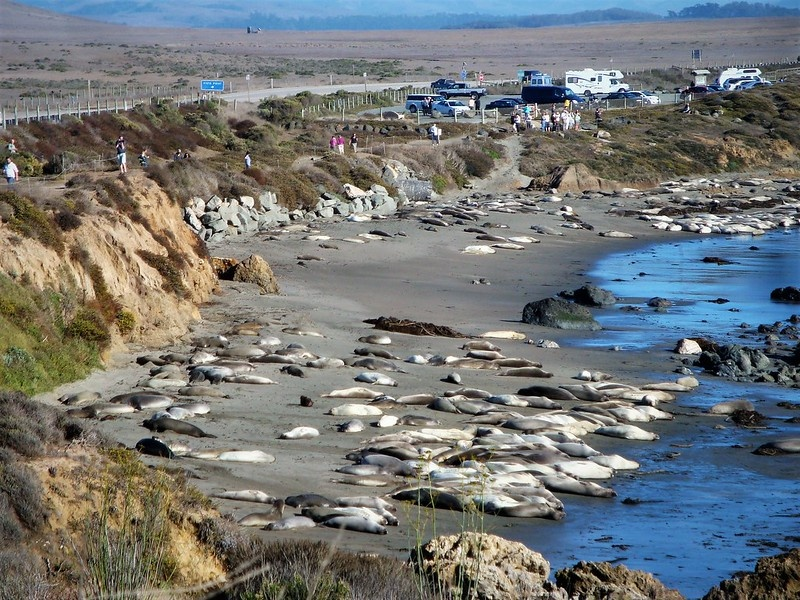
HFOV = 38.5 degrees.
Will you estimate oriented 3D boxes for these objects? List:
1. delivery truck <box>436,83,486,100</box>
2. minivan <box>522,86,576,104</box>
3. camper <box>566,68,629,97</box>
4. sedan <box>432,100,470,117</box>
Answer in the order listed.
[{"bbox_3d":[4.273,-15.348,83.349,4.170,1.129,1.788,3,4,10],"label":"delivery truck"},{"bbox_3d":[10.434,-14.364,80.398,4.211,1.219,1.453,0,17,5],"label":"minivan"},{"bbox_3d":[14.949,-16.366,86.609,2.933,2.011,7.081,6,10,32],"label":"camper"},{"bbox_3d":[3.226,-12.026,72.346,1.194,0.672,2.349,-6,7,-32],"label":"sedan"}]
